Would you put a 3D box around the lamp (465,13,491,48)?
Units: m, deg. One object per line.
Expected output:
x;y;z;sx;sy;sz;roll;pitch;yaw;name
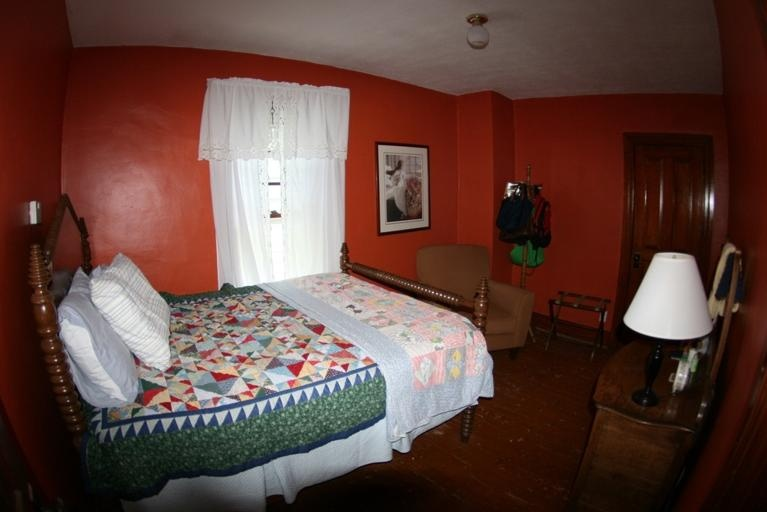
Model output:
0.792;-1.817;4.228;0.213;0.287;0.211;-9;12;-39;lamp

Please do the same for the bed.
-1.200;0.257;4.229;2.512;1.973;2.455;0;11;-9;bed

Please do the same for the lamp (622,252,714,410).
1.850;0.472;3.361;0.520;0.961;0.315;-1;11;-5;lamp

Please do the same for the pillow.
-1.850;0.550;3.502;0.414;0.373;0.935;12;14;-21;pillow
